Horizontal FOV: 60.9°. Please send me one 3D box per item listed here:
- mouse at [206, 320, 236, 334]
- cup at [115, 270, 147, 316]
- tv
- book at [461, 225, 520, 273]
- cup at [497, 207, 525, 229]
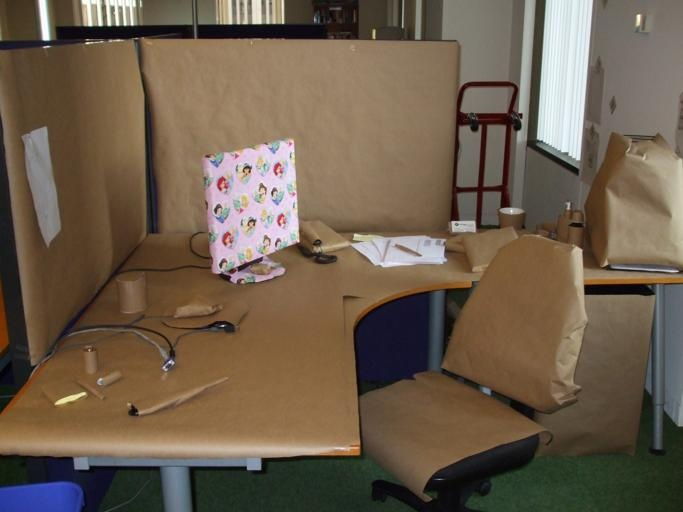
[{"bbox_3d":[-0.409,0.238,1.979,0.075,0.022,0.045,-1,22,-7],"label":"mouse"},{"bbox_3d":[-0.751,0.114,2.115,0.122,0.153,0.124,2,16,-1],"label":"cup"},{"bbox_3d":[-0.353,-0.152,2.292,0.277,0.492,0.453,17,29,35],"label":"tv"},{"bbox_3d":[0.643,-0.043,2.515,0.183,0.057,0.209,-18,31,21],"label":"book"},{"bbox_3d":[0.848,-0.186,2.899,0.115,0.099,0.112,-1,13,0],"label":"cup"}]
